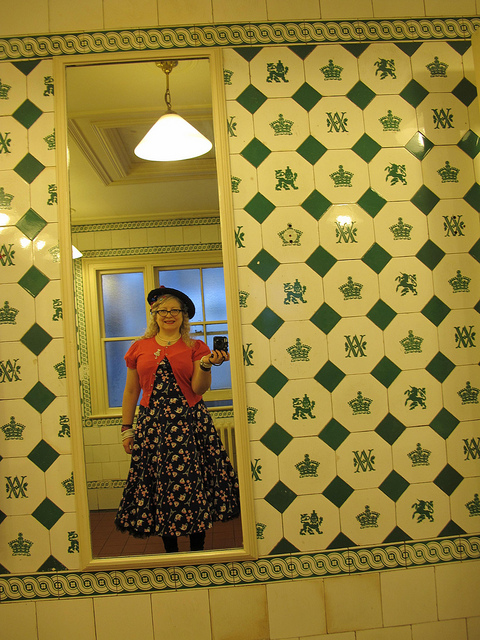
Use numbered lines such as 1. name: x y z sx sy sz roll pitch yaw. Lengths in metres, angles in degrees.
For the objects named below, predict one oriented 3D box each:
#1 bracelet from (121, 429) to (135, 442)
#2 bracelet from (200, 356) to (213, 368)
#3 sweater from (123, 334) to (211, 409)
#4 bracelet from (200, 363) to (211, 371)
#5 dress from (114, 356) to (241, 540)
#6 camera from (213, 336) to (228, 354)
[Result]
1. bracelet: -0.344 0.356 2.445 0.036 0.026 0.038 -2 1 6
2. bracelet: -0.103 0.134 2.477 0.038 0.022 0.033 4 -9 -10
3. sweater: -0.230 0.157 2.507 0.295 0.196 0.129 -2 2 2
4. bracelet: -0.110 0.149 2.477 0.023 0.014 0.022 12 -4 35
5. dress: -0.199 0.399 2.480 0.379 0.550 0.093 -1 -10 -10
6. camera: -0.064 0.077 2.468 0.047 0.054 0.036 -4 -9 7
